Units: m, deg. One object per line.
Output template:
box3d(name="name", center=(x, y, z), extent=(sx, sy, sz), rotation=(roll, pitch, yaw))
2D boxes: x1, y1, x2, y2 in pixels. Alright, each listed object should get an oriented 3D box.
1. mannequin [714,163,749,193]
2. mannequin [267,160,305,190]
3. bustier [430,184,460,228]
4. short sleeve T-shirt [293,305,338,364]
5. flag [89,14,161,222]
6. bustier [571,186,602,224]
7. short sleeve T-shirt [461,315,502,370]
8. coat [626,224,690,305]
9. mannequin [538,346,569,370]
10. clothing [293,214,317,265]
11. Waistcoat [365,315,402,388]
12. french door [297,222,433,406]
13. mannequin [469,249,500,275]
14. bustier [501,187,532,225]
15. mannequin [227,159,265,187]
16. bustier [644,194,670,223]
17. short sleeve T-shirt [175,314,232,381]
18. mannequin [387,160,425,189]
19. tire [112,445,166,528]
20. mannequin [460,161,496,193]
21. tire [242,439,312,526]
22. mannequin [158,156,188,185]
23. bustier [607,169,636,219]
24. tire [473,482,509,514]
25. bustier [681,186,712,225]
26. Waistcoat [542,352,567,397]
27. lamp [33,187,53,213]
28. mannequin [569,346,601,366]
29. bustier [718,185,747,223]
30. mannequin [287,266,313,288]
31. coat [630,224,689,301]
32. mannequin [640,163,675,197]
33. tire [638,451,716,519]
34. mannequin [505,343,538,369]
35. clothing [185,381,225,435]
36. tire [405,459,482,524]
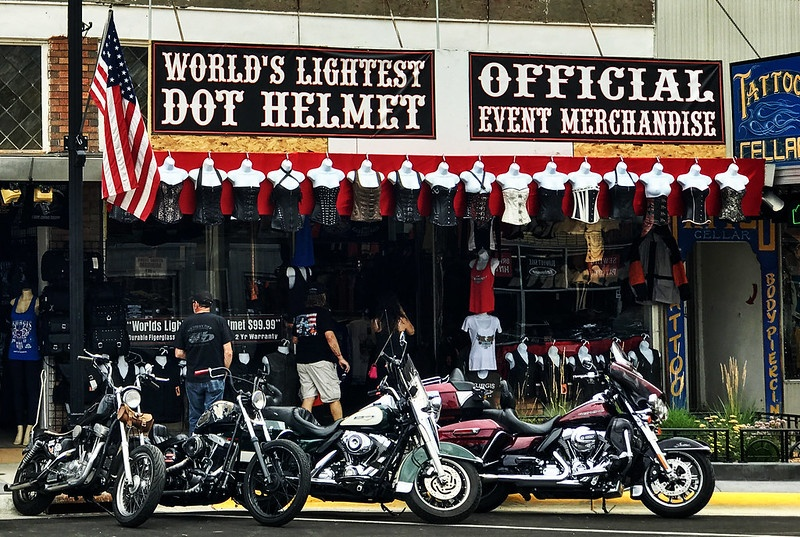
box3d(name="mannequin", center=(5.375, -1.484, 22.845), extent=(0.405, 0.439, 0.223), rotation=(4, -3, -13))
box3d(name="mannequin", center=(-1.765, -1.419, 22.101), extent=(0.690, 0.695, 0.390), rotation=(1, -1, -18))
box3d(name="bustier", center=(0.710, -1.007, 22.301), extent=(0.413, 0.586, 0.358), rotation=(1, -6, -4))
box3d(name="short sleeve T-shirt", center=(-1.430, 1.076, 23.355), extent=(0.805, 1.055, 0.563), rotation=(-4, 1, 15))
box3d(name="flag", center=(-4.135, -2.390, 20.920), extent=(0.830, 3.399, 0.720), rotation=(-11, 25, -11))
box3d(name="bustier", center=(3.034, -1.081, 22.681), extent=(0.541, 0.591, 0.369), rotation=(-9, 19, -27))
box3d(name="short sleeve T-shirt", center=(1.359, 1.224, 23.786), extent=(0.836, 1.150, 0.417), rotation=(0, 0, -20))
box3d(name="coat", center=(4.395, -0.062, 24.155), extent=(1.249, 1.906, 0.415), rotation=(0, 1, 0))
box3d(name="mannequin", center=(2.643, 1.529, 24.127), extent=(0.613, 0.464, 0.324), rotation=(0, -8, -18))
box3d(name="clothing", center=(-1.562, -0.500, 23.403), extent=(0.201, 0.736, 0.109), rotation=(-2, 2, -8))
box3d(name="Waistcoat", center=(-0.250, 1.352, 23.541), extent=(0.543, 1.257, 0.652), rotation=(-1, 10, -2))
box3d(name="french door", center=(-0.671, 0.725, 23.155), extent=(2.048, 3.014, 1.283), rotation=(0, -3, -2))
box3d(name="mannequin", center=(1.413, -0.132, 23.810), extent=(0.357, 0.531, 0.188), rotation=(-2, -5, 14))
box3d(name="bustier", center=(1.917, -1.002, 22.534), extent=(0.439, 0.617, 0.300), rotation=(3, -23, 4))
box3d(name="mannequin", center=(-2.373, -1.418, 21.917), extent=(0.672, 0.551, 0.365), rotation=(0, -5, -15))
box3d(name="bustier", center=(4.190, -0.998, 22.863), extent=(0.436, 0.608, 0.376), rotation=(-1, 2, -22))
box3d(name="short sleeve T-shirt", center=(-2.950, 1.193, 21.344), extent=(0.995, 1.221, 0.487), rotation=(0, 0, 0))
box3d(name="mannequin", center=(0.096, -1.409, 22.308), extent=(0.685, 0.611, 0.390), rotation=(1, -5, -19))
box3d(name="tire", center=(-3.520, 2.935, 19.014), extent=(0.281, 0.972, 0.814), rotation=(15, -21, -40))
box3d(name="mannequin", center=(1.227, -1.459, 22.348), extent=(0.448, 0.502, 0.254), rotation=(1, -3, -16))
box3d(name="tire", center=(-1.657, 2.853, 18.939), extent=(0.940, 1.157, 0.322), rotation=(9, 1, 35))
box3d(name="mannequin", center=(-3.497, -1.515, 21.674), extent=(0.407, 0.331, 0.144), rotation=(0, -5, -27))
box3d(name="bustier", center=(3.608, -1.241, 22.728), extent=(0.448, 0.789, 0.300), rotation=(0, -6, 4))
box3d(name="tire", center=(1.262, 3.186, 19.635), extent=(0.507, 0.574, 0.213), rotation=(1, 4, 4))
box3d(name="bustier", center=(4.813, -1.030, 22.817), extent=(0.435, 0.551, 0.382), rotation=(-1, -6, 7))
box3d(name="Waistcoat", center=(2.663, 1.779, 24.050), extent=(0.384, 1.111, 0.158), rotation=(-11, -33, 17))
box3d(name="lamp", center=(-5.772, -1.154, 22.878), extent=(0.312, 0.330, 0.679), rotation=(2, -6, -13))
box3d(name="mannequin", center=(3.084, 1.441, 23.559), extent=(0.334, 0.252, 0.160), rotation=(1, -8, -14))
box3d(name="bustier", center=(5.400, -1.091, 22.855), extent=(0.502, 0.680, 0.332), rotation=(2, -2, -13))
box3d(name="mannequin", center=(-1.660, 0.082, 23.394), extent=(0.373, 0.386, 0.309), rotation=(3, -4, -16))
box3d(name="coat", center=(4.481, -0.168, 24.162), extent=(1.020, 1.517, 0.314), rotation=(3, 17, 18))
box3d(name="mannequin", center=(4.155, -1.431, 22.747), extent=(0.471, 0.641, 0.256), rotation=(2, -4, -11))
box3d(name="tire", center=(3.802, 2.957, 19.373), extent=(0.791, 0.889, 0.332), rotation=(-6, -1, 8))
box3d(name="mannequin", center=(2.061, 1.493, 24.017), extent=(0.369, 0.545, 0.181), rotation=(2, -5, -12))
box3d(name="clothing", center=(-2.936, 2.153, 21.234), extent=(0.488, 1.242, 0.336), rotation=(0, -38, 8))
box3d(name="tire", center=(0.590, 2.972, 18.976), extent=(0.785, 0.887, 0.300), rotation=(1, -10, 3))
